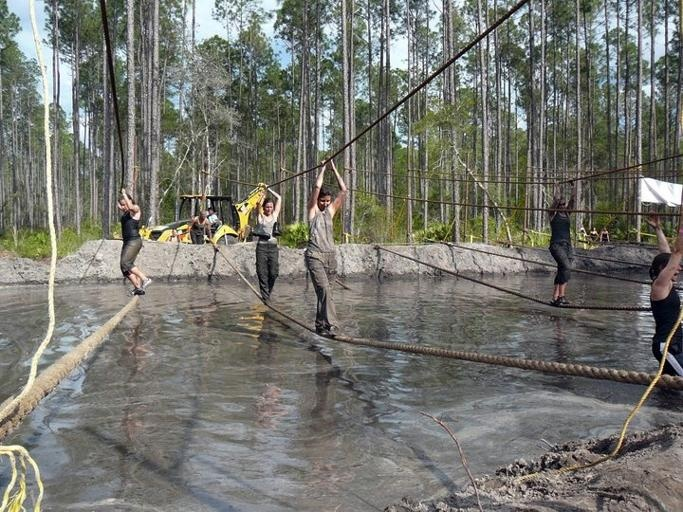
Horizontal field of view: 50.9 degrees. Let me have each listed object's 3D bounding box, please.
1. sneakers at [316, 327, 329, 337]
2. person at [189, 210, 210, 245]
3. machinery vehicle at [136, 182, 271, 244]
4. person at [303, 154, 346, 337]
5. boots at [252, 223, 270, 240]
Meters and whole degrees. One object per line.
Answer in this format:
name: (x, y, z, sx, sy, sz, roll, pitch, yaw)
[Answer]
sneakers: (-0.317, 1.303, 12.254, 0.166, 0.107, 0.278, -3, 1, -1)
person: (-4.763, -0.948, 24.010, 0.570, 1.055, 1.438, 1, 3, -12)
machinery vehicle: (-4.744, -1.426, 25.701, 4.719, 2.662, 1.895, -2, 8, -37)
person: (-0.307, -0.135, 12.192, 0.676, 2.983, 0.703, 2, 3, 10)
boots: (-1.680, -0.489, 15.230, 0.394, 0.353, 0.212, 1, 3, -10)
